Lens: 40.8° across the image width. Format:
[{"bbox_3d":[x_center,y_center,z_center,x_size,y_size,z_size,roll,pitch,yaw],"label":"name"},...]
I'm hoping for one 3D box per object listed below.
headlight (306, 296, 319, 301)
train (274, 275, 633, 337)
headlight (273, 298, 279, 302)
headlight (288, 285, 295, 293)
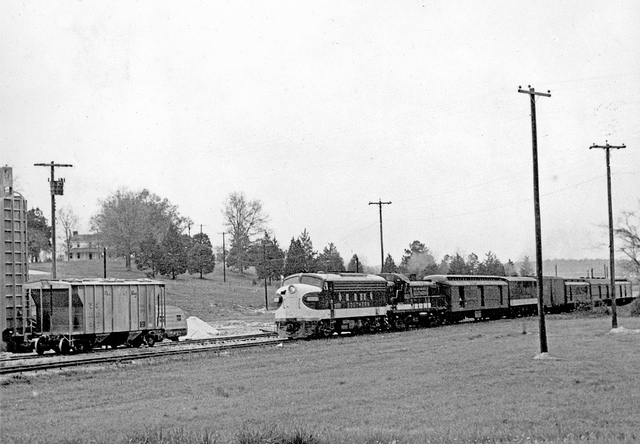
[{"bbox_3d":[-0.422,4.564,51.082,0.794,0.262,0.153,5,-9,-37],"label":"headlight"},{"bbox_3d":[8.823,5.861,62.946,3.226,4.774,32.218,-8,-10,43],"label":"train"},{"bbox_3d":[-2.655,4.728,52.108,0.256,0.205,0.153,-1,1,7],"label":"headlight"},{"bbox_3d":[-1.712,4.022,51.316,0.194,0.428,0.470,5,-10,-43],"label":"headlight"}]
